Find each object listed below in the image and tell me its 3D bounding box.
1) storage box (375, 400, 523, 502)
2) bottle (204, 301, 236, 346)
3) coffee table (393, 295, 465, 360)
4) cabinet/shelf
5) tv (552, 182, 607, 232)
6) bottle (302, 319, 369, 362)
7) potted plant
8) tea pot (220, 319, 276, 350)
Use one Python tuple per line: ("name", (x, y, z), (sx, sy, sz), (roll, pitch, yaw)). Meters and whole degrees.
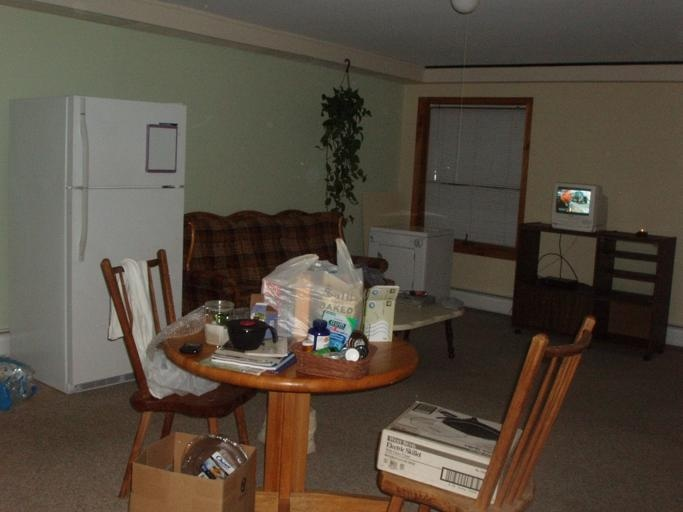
("storage box", (0.388, 0.769, 2.177), (0.352, 0.134, 0.346), (8, 15, 21))
("bottle", (-0.562, 0.323, 2.467), (0.116, 0.173, 0.115), (5, 2, 0))
("coffee table", (0.686, 0.603, 4.546), (0.604, 0.356, 0.593), (6, 10, 23))
("cabinet/shelf", (2.548, 0.360, 5.313), (1.182, 1.039, 0.423), (9, 10, 43))
("tv", (2.546, -0.538, 5.721), (0.576, 0.501, 0.581), (5, 14, 22))
("bottle", (-0.012, 0.370, 2.242), (0.230, 0.151, 0.144), (12, 9, 33))
("potted plant", (0.018, -1.114, 6.149), (0.555, 1.652, 0.981), (7, 13, 16))
("tea pot", (-0.386, 0.342, 2.314), (0.212, 0.112, 0.182), (6, 9, 3))
